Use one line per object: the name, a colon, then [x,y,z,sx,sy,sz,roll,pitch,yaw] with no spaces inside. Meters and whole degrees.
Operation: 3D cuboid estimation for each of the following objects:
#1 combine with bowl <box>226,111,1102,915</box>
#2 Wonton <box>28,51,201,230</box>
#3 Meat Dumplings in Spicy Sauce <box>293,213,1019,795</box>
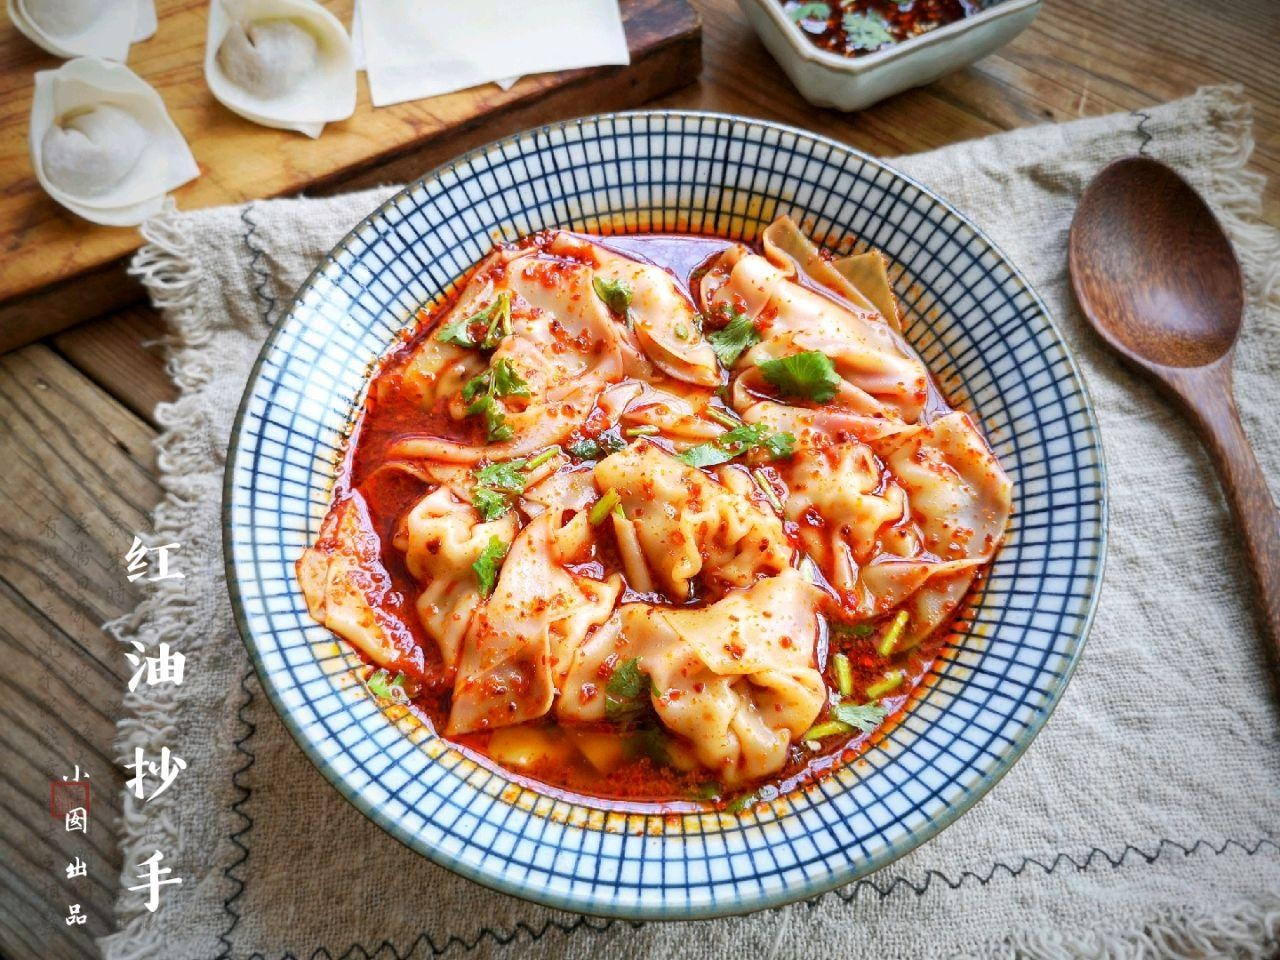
combine with bowl: [0.149,0.083,5.441,3.810,0.464,3.566,2,76,1]
Wonton: [-2.753,-1.688,6.186,0.725,0.329,0.966,-32,94,-25]
Meat Dumplings in Spicy Sauce: [0.081,0.191,5.603,2.680,0.874,2.790,-11,73,1]
